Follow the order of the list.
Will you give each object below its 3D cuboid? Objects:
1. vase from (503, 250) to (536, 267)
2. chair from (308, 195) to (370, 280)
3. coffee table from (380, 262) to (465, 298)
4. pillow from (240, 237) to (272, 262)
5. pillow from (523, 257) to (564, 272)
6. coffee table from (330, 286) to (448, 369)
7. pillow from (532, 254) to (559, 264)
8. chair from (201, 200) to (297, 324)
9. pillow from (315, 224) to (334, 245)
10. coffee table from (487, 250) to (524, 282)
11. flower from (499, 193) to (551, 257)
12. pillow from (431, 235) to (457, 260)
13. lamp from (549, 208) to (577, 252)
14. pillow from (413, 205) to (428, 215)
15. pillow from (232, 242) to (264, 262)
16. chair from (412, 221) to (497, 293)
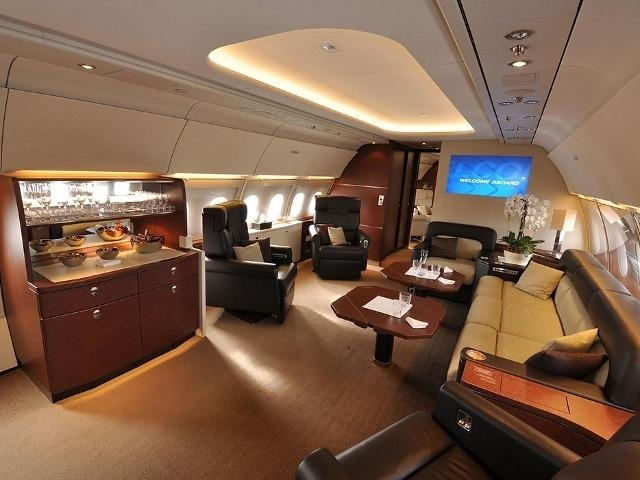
[{"bbox_3d":[2.787,0.237,5.567,0.259,0.140,0.257,5,7,38],"label":"vase"},{"bbox_3d":[0.334,-0.066,6.926,1.007,1.385,0.910,3,9,-2],"label":"chair"},{"bbox_3d":[1.275,0.507,4.901,0.637,0.272,0.623,6,20,4],"label":"coffee table"},{"bbox_3d":[-0.878,0.139,5.229,0.125,0.295,0.420,-30,-11,18],"label":"pillow"},{"bbox_3d":[2.973,0.298,5.152,0.275,0.124,0.202,17,28,38],"label":"pillow"},{"bbox_3d":[0.731,0.742,4.038,1.053,0.597,0.835,17,30,35],"label":"coffee table"},{"bbox_3d":[3.017,0.262,5.271,0.178,0.045,0.195,-12,17,-38],"label":"pillow"},{"bbox_3d":[-1.012,0.119,5.738,1.522,1.856,1.431,4,15,12],"label":"chair"},{"bbox_3d":[0.066,-0.087,6.840,0.325,0.369,0.144,4,-12,-38],"label":"pillow"},{"bbox_3d":[2.607,0.322,5.520,0.320,0.207,0.459,11,23,28],"label":"coffee table"},{"bbox_3d":[3.114,-0.254,5.998,0.623,0.866,1.302,8,10,29],"label":"flower"},{"bbox_3d":[2.035,0.135,6.455,0.345,0.323,0.124,5,-12,31],"label":"pillow"},{"bbox_3d":[3.693,-0.137,5.993,0.308,0.680,0.503,9,11,31],"label":"lamp"},{"bbox_3d":[2.745,-0.808,10.540,0.723,0.210,0.285,-5,12,-44],"label":"pillow"},{"bbox_3d":[-0.970,0.159,5.153,0.101,0.232,0.270,-16,-11,42],"label":"pillow"},{"bbox_3d":[2.128,0.435,6.460,1.341,1.225,0.993,7,13,28],"label":"chair"}]
